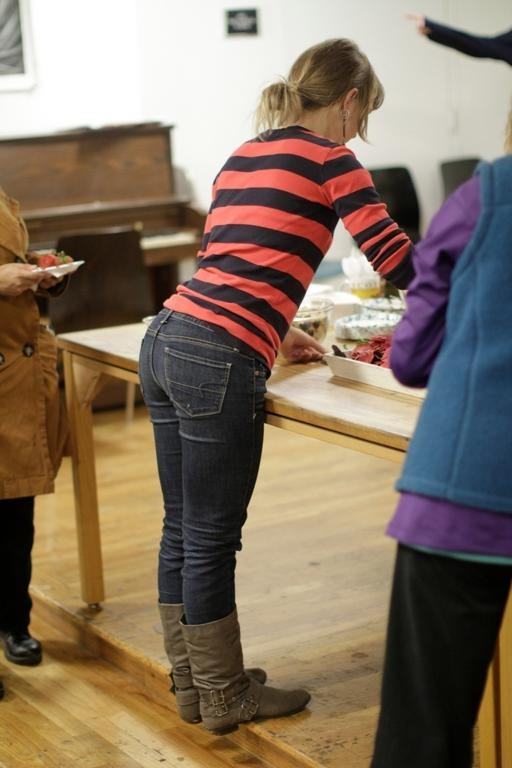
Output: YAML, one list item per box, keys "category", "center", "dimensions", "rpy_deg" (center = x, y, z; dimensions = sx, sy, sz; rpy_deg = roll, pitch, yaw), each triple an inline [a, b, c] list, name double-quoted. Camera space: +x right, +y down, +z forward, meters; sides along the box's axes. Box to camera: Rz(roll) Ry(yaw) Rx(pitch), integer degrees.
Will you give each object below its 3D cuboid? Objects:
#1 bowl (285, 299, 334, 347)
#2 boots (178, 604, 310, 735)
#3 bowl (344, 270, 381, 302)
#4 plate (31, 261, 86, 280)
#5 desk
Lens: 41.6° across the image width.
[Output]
- category: "bowl"
  center: [0.149, -0.177, 1.759]
  dimensions: [0.127, 0.120, 0.093]
  rpy_deg: [-1, 54, 2]
- category: "boots"
  center: [-0.024, 0.598, 1.437]
  dimensions: [0.236, 0.233, 0.116]
  rpy_deg: [-6, -5, -22]
- category: "bowl"
  center: [0.347, -0.327, 2.216]
  dimensions: [0.088, 0.066, 0.094]
  rpy_deg: [-3, 4, 0]
- category: "plate"
  center: [-0.486, -0.276, 1.634]
  dimensions: [0.080, 0.024, 0.081]
  rpy_deg: [1, 16, 33]
- category: "desk"
  center: [0.002, 0.352, 1.361]
  dimensions: [0.644, 0.534, 0.920]
  rpy_deg: [-5, 15, -33]
